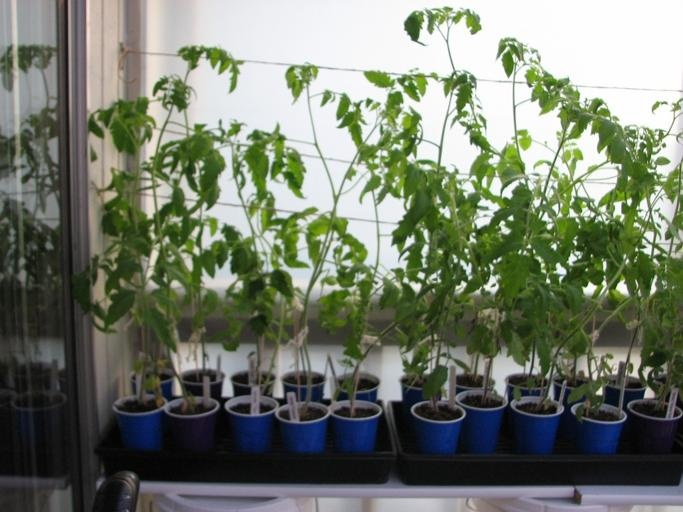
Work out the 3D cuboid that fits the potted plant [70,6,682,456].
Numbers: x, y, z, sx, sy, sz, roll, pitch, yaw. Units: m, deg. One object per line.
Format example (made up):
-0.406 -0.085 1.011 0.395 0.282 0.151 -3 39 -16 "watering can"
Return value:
0.142 -0.039 2.404 2.192 1.402 1.227 2 10 12 "potted plant"
